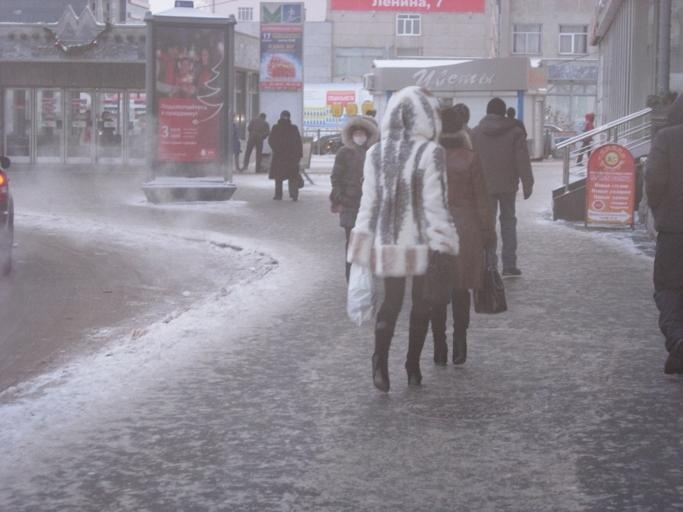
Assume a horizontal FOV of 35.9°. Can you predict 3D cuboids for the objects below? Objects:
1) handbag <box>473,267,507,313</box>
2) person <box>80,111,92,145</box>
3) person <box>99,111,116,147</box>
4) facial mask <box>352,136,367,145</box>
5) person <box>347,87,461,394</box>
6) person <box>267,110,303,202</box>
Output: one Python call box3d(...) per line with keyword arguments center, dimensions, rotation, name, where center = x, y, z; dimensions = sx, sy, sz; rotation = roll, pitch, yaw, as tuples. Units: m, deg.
box3d(center=(1.127, 0.272, 8.060), dimensions=(0.236, 0.355, 0.151), rotation=(-1, 9, -3), name="handbag")
box3d(center=(-7.941, -4.024, 32.762), dimensions=(0.278, 1.089, 0.499), rotation=(-5, 10, -27), name="person")
box3d(center=(-7.473, -3.975, 33.259), dimensions=(0.751, 1.167, 1.174), rotation=(-1, 7, -4), name="person")
box3d(center=(0.188, -1.228, 11.208), dimensions=(0.096, 0.079, 0.092), rotation=(2, 1, 4), name="facial mask")
box3d(center=(0.418, -0.099, 7.446), dimensions=(0.767, 2.160, 0.402), rotation=(-1, 9, -1), name="person")
box3d(center=(-1.188, -2.088, 21.951), dimensions=(0.681, 1.839, 0.802), rotation=(-2, 9, -4), name="person")
